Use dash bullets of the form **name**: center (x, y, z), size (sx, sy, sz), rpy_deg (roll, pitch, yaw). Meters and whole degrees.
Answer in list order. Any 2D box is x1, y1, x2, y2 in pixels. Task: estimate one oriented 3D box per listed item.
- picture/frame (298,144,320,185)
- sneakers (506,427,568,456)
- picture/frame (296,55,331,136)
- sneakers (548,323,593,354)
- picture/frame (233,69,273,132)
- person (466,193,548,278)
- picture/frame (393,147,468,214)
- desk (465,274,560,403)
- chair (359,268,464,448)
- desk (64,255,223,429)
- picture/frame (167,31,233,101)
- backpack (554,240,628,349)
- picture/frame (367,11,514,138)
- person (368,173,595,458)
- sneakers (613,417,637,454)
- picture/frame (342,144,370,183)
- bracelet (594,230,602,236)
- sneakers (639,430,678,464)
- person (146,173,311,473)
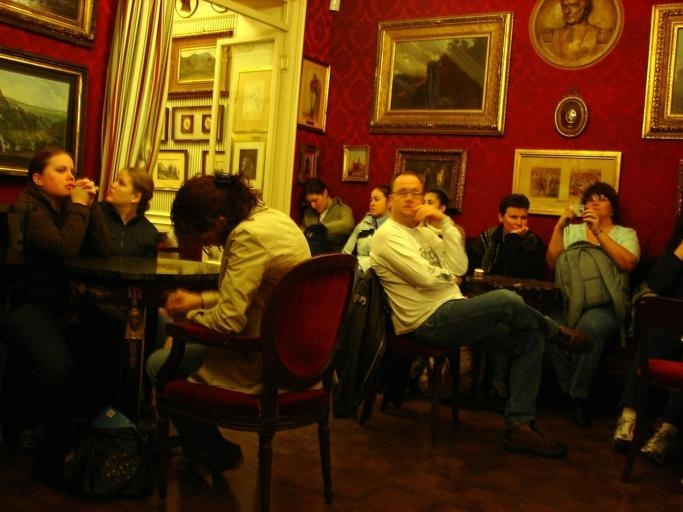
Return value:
- **picture/frame**: center (-0.430, -1.120, 6.736), size (0.067, 0.539, 0.491), rpy_deg (3, 6, 24)
- **sneakers**: center (1.343, 1.239, 3.799), size (0.435, 0.206, 0.168), rpy_deg (0, 2, 25)
- **picture/frame**: center (-0.344, -1.968, 6.750), size (0.097, 0.824, 0.558), rpy_deg (5, 4, 30)
- **sneakers**: center (1.655, 0.609, 4.022), size (0.281, 0.176, 0.112), rpy_deg (23, -2, -13)
- **picture/frame**: center (-1.076, -1.899, 6.680), size (0.677, 1.010, 0.038), rpy_deg (5, 5, 23)
- **person**: center (1.617, -0.187, 5.542), size (0.793, 0.866, 0.523), rpy_deg (8, 8, 33)
- **picture/frame**: center (0.948, -0.758, 5.556), size (0.838, 0.777, 0.064), rpy_deg (4, -1, 27)
- **desk**: center (1.543, 0.693, 5.026), size (0.865, 1.064, 1.045), rpy_deg (0, 4, 3)
- **chair**: center (0.483, 0.891, 4.178), size (0.672, 0.849, 0.745), rpy_deg (5, -12, 18)
- **desk**: center (-1.360, 0.605, 3.491), size (0.799, 0.954, 0.821), rpy_deg (6, -7, 31)
- **picture/frame**: center (-2.161, -2.740, 7.905), size (0.963, 0.844, 0.110), rpy_deg (5, 4, 28)
- **backpack**: center (2.207, 0.244, 4.970), size (0.378, 0.585, 0.572), rpy_deg (-8, 8, 14)
- **picture/frame**: center (1.200, -2.090, 6.321), size (1.443, 1.258, 0.075), rpy_deg (3, -1, 28)
- **person**: center (0.891, 0.368, 3.935), size (1.410, 1.866, 0.467), rpy_deg (4, 3, 8)
- **sneakers**: center (2.034, 1.271, 3.944), size (0.122, 0.130, 0.214), rpy_deg (-13, 30, 41)
- **picture/frame**: center (0.182, -1.138, 6.799), size (0.438, 0.513, 0.061), rpy_deg (2, -1, 29)
- **bracelet**: center (2.302, -0.212, 4.931), size (0.056, 0.045, 0.057), rpy_deg (6, 10, 41)
- **sneakers**: center (2.185, 1.283, 3.827), size (0.312, 0.234, 0.187), rpy_deg (4, -1, -40)
- **person**: center (-0.631, 0.367, 2.958), size (0.835, 1.571, 0.615), rpy_deg (3, 7, -7)
